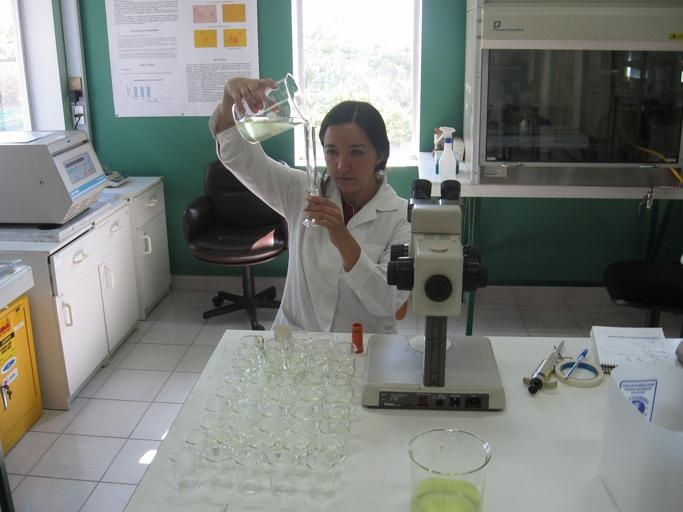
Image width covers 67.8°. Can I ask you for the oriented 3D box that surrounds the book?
[{"bbox_3d":[0.873,0.274,1.529,0.196,0.049,0.195,0,29,7],"label":"book"}]

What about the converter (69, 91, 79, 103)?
[{"bbox_3d":[-1.994,-1.190,3.793,0.067,0.068,0.016,-5,8,-10],"label":"converter"}]

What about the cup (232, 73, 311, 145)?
[{"bbox_3d":[-0.182,-0.407,1.569,0.211,0.183,0.214,-17,-5,-2],"label":"cup"}]

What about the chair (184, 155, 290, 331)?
[{"bbox_3d":[-0.713,-0.108,3.703,0.816,1.127,0.771,-13,21,-32],"label":"chair"}]

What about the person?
[{"bbox_3d":[-0.106,-0.147,1.803,0.695,0.927,0.546,1,19,8],"label":"person"}]
